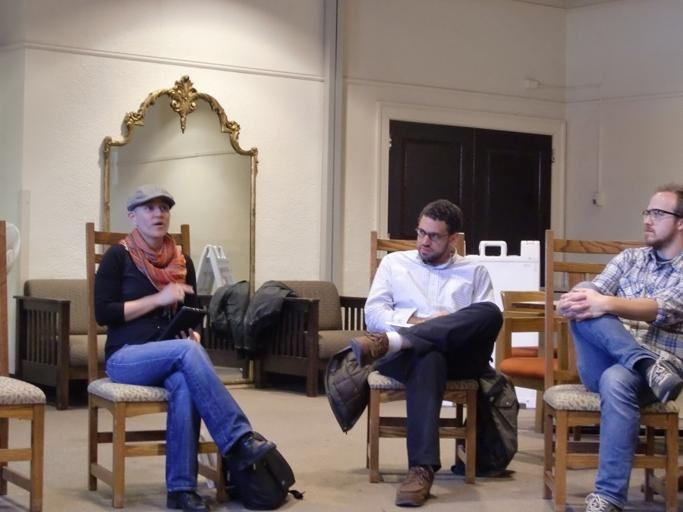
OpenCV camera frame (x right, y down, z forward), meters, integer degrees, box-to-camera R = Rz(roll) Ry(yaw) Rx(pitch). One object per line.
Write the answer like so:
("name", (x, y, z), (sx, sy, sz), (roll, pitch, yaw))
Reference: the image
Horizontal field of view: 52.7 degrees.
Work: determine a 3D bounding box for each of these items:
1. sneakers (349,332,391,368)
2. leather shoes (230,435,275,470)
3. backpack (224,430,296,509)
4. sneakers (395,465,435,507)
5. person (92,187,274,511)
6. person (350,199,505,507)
("sneakers", (0.121, 0.413, 3.019), (0.168, 0.113, 0.067), (-22, 13, -29))
("leather shoes", (-0.376, 0.817, 2.869), (0.167, 0.072, 0.135), (-25, 11, -4))
("backpack", (-0.314, 0.908, 2.975), (0.316, 0.343, 0.270), (-2, 0, -1))
("sneakers", (0.317, 1.008, 2.992), (0.090, 0.123, 0.237), (-1, -6, 20))
("person", (-0.748, 0.371, 3.018), (0.858, 1.378, 0.410), (1, 1, 41))
("person", (0.418, 0.409, 3.244), (0.649, 1.353, 0.639), (1, 1, 9))
